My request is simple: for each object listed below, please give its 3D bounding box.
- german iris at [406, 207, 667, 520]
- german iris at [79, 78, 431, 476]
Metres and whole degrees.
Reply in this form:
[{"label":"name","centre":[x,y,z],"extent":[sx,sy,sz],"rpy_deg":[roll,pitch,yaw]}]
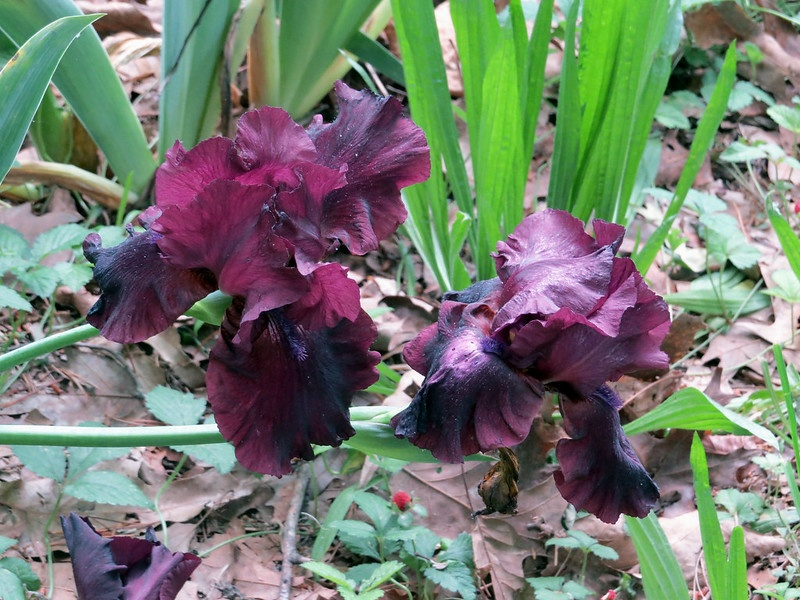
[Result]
[{"label":"german iris","centre":[0.217,0.100,1.105],"extent":[0.489,0.357,0.415],"rpy_deg":[-6,40,34]},{"label":"german iris","centre":[-0.208,-0.045,1.047],"extent":[0.520,0.543,0.355],"rpy_deg":[-7,26,-26]}]
